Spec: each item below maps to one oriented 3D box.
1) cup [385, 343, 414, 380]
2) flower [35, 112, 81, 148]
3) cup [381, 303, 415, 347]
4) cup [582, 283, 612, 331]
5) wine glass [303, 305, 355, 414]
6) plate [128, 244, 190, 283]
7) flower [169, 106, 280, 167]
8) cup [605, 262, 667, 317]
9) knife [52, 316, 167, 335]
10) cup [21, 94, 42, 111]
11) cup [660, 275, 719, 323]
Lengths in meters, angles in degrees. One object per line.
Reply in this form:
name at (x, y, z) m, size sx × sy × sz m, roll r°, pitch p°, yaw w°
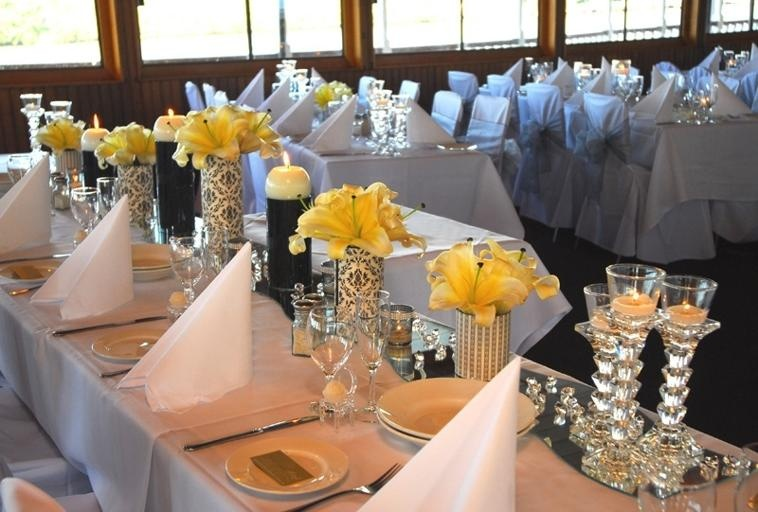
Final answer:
cup at (0.054, 0.260, 1.363) m, size 0.059 × 0.108 × 0.064 m, roll -5°, pitch -2°, yaw 0°
flower at (-1.662, -0.634, 2.887) m, size 0.224 × 0.168 × 0.174 m, roll -10°, pitch 16°, yaw -30°
cup at (0.052, 0.164, 1.348) m, size 0.099 × 0.124 × 0.106 m, roll 1°, pitch 10°, yaw 0°
cup at (0.408, 0.099, 1.046) m, size 0.067 × 0.085 × 0.073 m, roll -5°, pitch 15°, yaw 1°
wine glass at (-0.102, 0.200, 1.219) m, size 0.096 × 0.228 × 0.231 m, roll -2°, pitch 14°, yaw -3°
plate at (-0.750, 0.020, 1.873) m, size 0.165 × 0.044 × 0.174 m, roll -6°, pitch 28°, yaw -23°
flower at (-0.567, -0.437, 1.936) m, size 0.259 × 0.129 × 0.271 m, roll 13°, pitch 26°, yaw 22°
cup at (0.460, 0.053, 1.002) m, size 0.084 × 0.071 × 0.094 m, roll -1°, pitch 11°, yaw -3°
knife at (-0.724, 0.189, 1.485) m, size 0.189 × 0.011 × 0.022 m, roll -6°, pitch 24°, yaw -30°
cup at (-2.431, -1.083, 3.867) m, size 0.110 × 0.115 × 0.333 m, roll -10°, pitch 17°, yaw -30°
cup at (0.556, 0.069, 1.006) m, size 0.078 × 0.068 × 0.086 m, roll 0°, pitch 11°, yaw -3°
